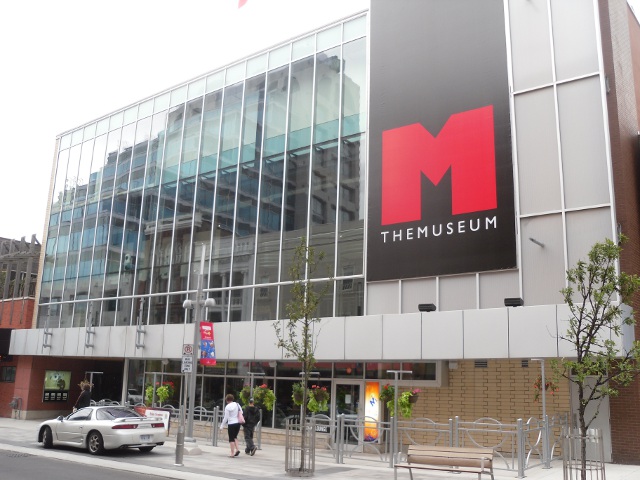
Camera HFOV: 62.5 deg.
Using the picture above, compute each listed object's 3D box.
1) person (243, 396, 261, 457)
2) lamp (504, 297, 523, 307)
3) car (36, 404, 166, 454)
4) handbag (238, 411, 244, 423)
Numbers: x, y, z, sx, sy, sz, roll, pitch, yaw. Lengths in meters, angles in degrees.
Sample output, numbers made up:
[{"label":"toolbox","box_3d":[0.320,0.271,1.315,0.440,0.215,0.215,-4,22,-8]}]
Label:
[{"label":"person","box_3d":[-2.808,7.486,21.056,0.543,2.136,1.211,1,-17,-8]},{"label":"lamp","box_3d":[7.295,2.293,19.792,0.506,0.286,0.370,2,11,20]},{"label":"car","box_3d":[-8.817,7.310,20.286,5.392,1.676,1.911,-7,-18,17]},{"label":"handbag","box_3d":[-3.093,6.917,20.546,0.174,0.399,0.384,-14,-17,2]}]
